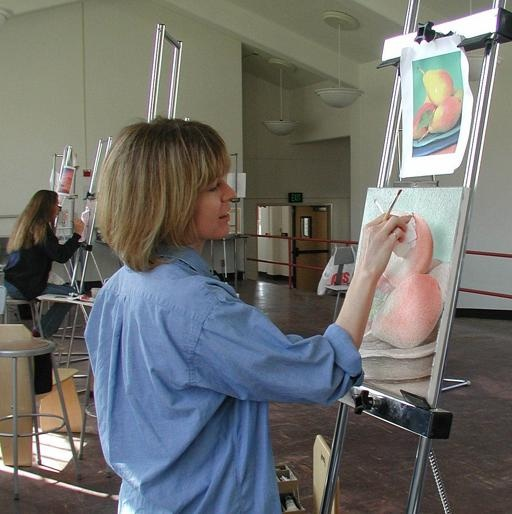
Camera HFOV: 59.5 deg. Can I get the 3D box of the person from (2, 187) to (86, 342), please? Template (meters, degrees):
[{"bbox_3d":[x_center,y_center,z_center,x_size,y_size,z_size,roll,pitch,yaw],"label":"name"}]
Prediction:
[{"bbox_3d":[-1.988,-0.020,4.272,0.599,1.492,0.671,-4,12,-40],"label":"person"}]

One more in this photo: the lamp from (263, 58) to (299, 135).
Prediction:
[{"bbox_3d":[0.468,-3.241,9.393,0.549,1.593,0.554,1,10,6],"label":"lamp"}]
